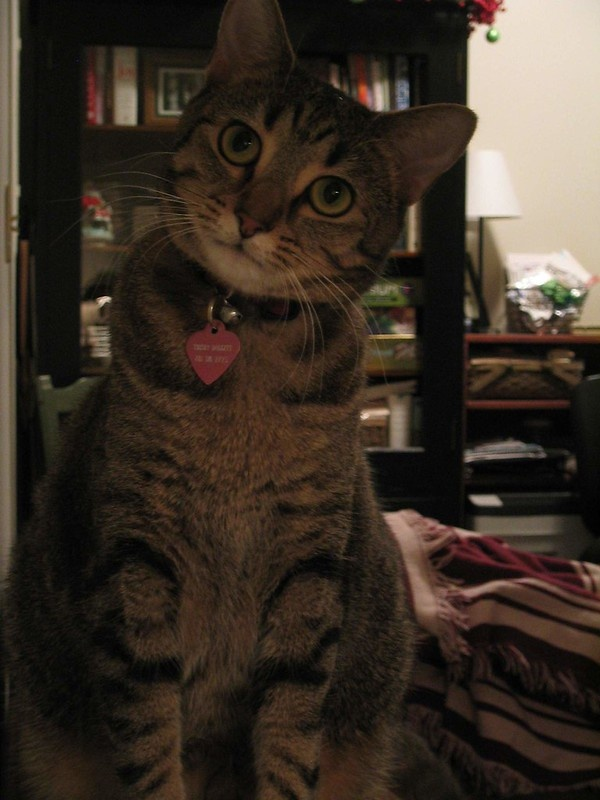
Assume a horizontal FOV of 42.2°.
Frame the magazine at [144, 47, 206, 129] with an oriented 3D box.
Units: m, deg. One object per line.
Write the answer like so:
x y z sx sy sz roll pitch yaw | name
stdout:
-0.141 -0.375 0.962 0.094 0.091 0.019 24 29 -1 | magazine

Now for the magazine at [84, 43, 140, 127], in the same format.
-0.226 -0.400 1.008 0.099 0.099 0.080 1 10 -9 | magazine

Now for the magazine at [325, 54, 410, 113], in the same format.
0.107 -0.424 1.021 0.076 0.075 0.087 4 39 10 | magazine
